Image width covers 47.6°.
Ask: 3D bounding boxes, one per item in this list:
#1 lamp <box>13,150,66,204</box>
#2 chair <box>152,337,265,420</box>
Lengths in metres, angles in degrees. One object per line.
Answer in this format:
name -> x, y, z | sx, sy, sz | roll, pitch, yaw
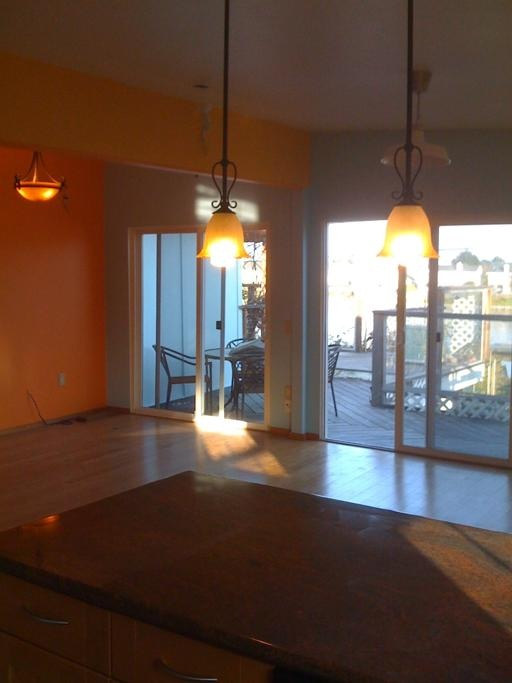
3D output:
lamp -> -2.036, -1.536, 5.412 | 0.396, 0.538, 1.506 | -2, 1, -22
chair -> -0.537, 0.359, 6.129 | 1.266, 0.677, 0.588 | 1, 4, 29
